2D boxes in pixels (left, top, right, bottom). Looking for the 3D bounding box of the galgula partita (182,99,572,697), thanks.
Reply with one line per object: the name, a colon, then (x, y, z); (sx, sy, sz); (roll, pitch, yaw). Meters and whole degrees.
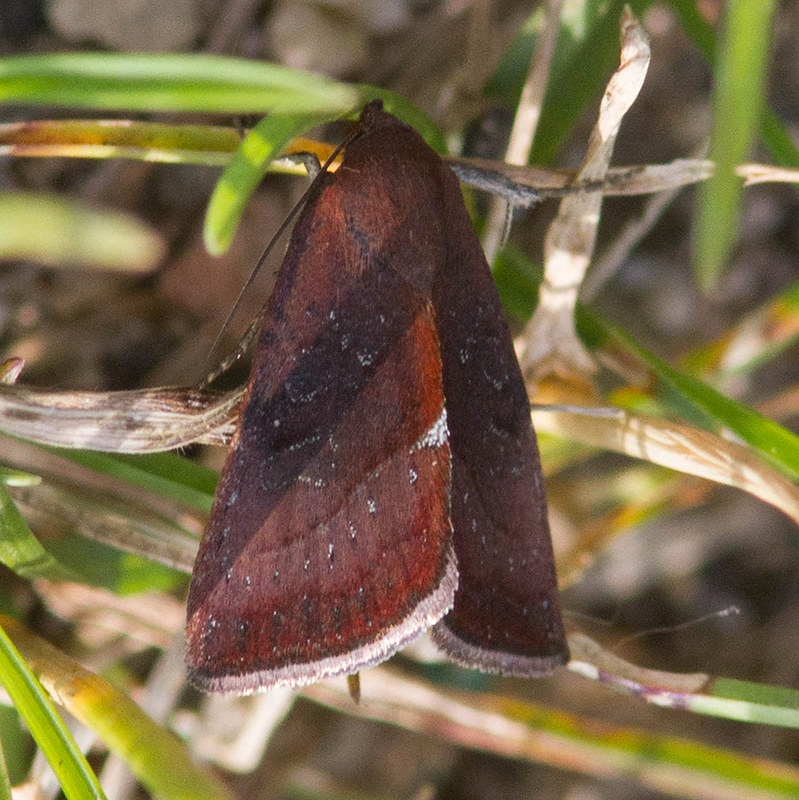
galgula partita: (-0.024, 0.008, 0.732); (0.274, 0.100, 0.364); (-3, 98, -19)
